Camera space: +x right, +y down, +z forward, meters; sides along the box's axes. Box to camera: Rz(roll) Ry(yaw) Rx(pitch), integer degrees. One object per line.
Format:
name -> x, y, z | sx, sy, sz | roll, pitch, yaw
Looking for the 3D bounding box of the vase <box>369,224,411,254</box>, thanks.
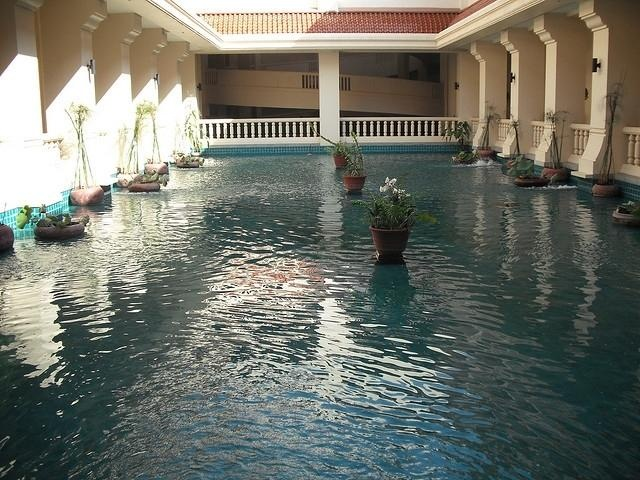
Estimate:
vase -> 0.990, -0.013, 6.227 | 0.535, 0.226, 0.446 | -1, 5, -5
